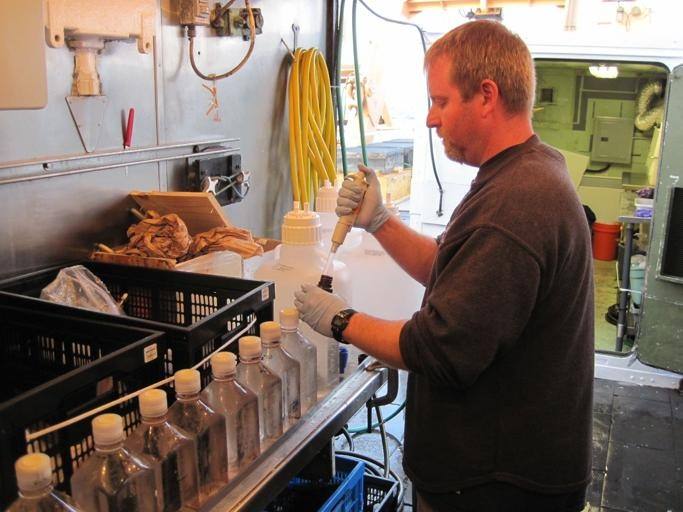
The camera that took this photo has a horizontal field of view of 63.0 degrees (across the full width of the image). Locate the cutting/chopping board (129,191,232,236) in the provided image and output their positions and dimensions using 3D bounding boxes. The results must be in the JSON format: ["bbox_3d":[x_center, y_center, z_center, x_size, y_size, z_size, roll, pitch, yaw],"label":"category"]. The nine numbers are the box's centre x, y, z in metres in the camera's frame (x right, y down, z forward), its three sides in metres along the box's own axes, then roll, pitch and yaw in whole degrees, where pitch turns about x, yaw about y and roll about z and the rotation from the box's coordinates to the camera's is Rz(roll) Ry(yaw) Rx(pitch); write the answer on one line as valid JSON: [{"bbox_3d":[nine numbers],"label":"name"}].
[{"bbox_3d":[-0.584,-0.146,1.958,0.224,0.149,0.032,10,55,9],"label":"cutting/chopping board"}]

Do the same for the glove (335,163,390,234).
[{"bbox_3d":[0.072,-0.194,1.856,0.210,0.208,0.151,3,-2,-41],"label":"glove"}]

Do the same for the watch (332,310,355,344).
[{"bbox_3d":[-0.001,0.196,1.519,0.039,0.082,0.069,18,-19,-18],"label":"watch"}]
